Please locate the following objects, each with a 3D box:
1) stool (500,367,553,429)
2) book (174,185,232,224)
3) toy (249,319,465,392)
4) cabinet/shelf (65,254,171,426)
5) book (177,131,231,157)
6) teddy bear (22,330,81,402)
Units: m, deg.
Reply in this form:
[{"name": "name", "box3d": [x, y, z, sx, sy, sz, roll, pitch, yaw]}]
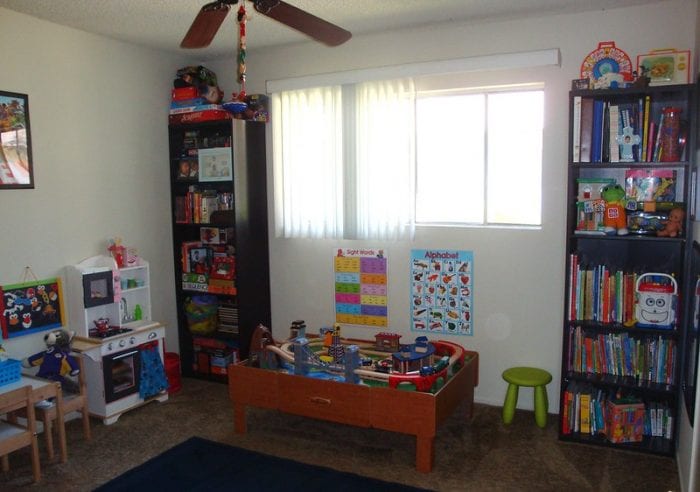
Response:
[{"name": "stool", "box3d": [1.590, 1.375, 5.129, 0.492, 0.512, 0.489, 1, 2, 13]}, {"name": "book", "box3d": [-1.584, -0.428, 5.994, 0.762, 0.342, 0.145, 3, 8, 29]}, {"name": "toy", "box3d": [0.058, 1.001, 4.793, 1.329, 0.323, 0.806, 1, 7, 19]}, {"name": "cabinet/shelf", "box3d": [-2.297, 0.868, 5.416, 0.839, 1.536, 0.592, -6, 9, -36]}, {"name": "book", "box3d": [-1.518, -1.127, 5.951, 0.691, 0.272, 0.220, 3, 8, 30]}, {"name": "teddy bear", "box3d": [-2.639, 1.062, 4.861, 0.494, 0.685, 0.250, 8, -3, 2]}]
